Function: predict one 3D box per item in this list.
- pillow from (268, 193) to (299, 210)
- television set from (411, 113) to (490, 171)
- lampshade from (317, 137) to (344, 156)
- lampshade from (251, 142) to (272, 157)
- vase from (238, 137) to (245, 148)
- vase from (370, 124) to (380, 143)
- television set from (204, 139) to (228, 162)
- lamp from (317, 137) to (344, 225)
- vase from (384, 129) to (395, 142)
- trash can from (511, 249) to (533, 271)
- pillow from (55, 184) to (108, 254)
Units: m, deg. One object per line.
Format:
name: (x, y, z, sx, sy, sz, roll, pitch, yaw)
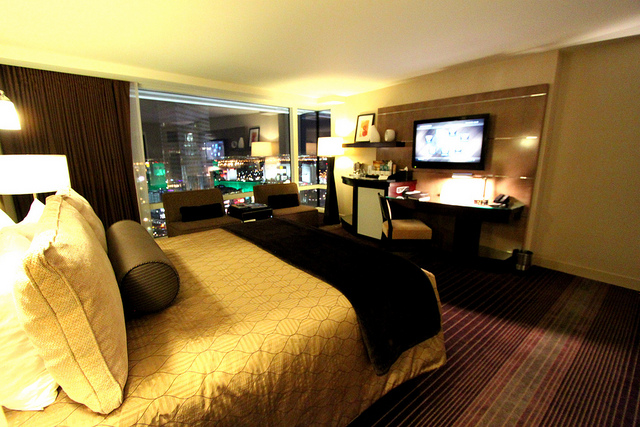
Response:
pillow: (-0.594, -0.205, 6.918, 0.614, 0.218, 0.210, -10, 16, -34)
television set: (1.848, -1.007, 5.875, 1.053, 0.759, 0.119, 4, 2, 33)
lampshade: (0.190, -1.170, 7.234, 0.359, 0.227, 0.352, -1, 9, -5)
lampshade: (-1.068, -1.172, 7.525, 0.427, 0.261, 0.123, -14, 19, -43)
vase: (-1.420, -1.264, 7.401, 0.151, 0.233, 0.147, -5, 13, -25)
vase: (0.910, -1.316, 6.791, 0.162, 0.263, 0.205, -3, 14, -7)
television set: (-1.805, -1.083, 7.070, 0.120, 0.338, 0.370, 11, 19, 34)
lamp: (0.170, -0.595, 7.573, 0.499, 1.569, 0.464, -5, 11, -28)
vase: (1.115, -1.235, 6.575, 0.181, 0.168, 0.165, -11, 16, -29)
trash can: (2.604, 0.602, 5.354, 0.195, 0.290, 0.302, -7, 11, -38)
pillow: (-2.112, 0.032, 3.612, 0.192, 0.594, 0.622, -22, 21, -20)
